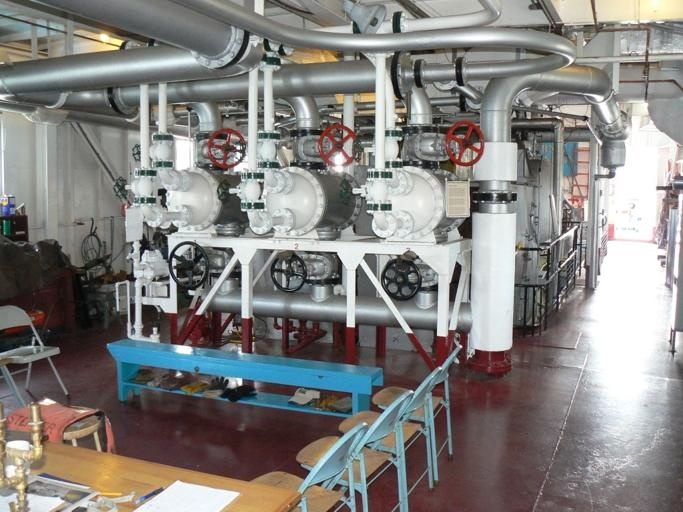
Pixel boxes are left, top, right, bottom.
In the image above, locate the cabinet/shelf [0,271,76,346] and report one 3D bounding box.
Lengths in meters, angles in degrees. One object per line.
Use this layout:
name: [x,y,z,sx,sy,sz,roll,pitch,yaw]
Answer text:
cabinet/shelf: [-5.339,0.826,9.617,0.946,1.152,1.251,4,9,19]
